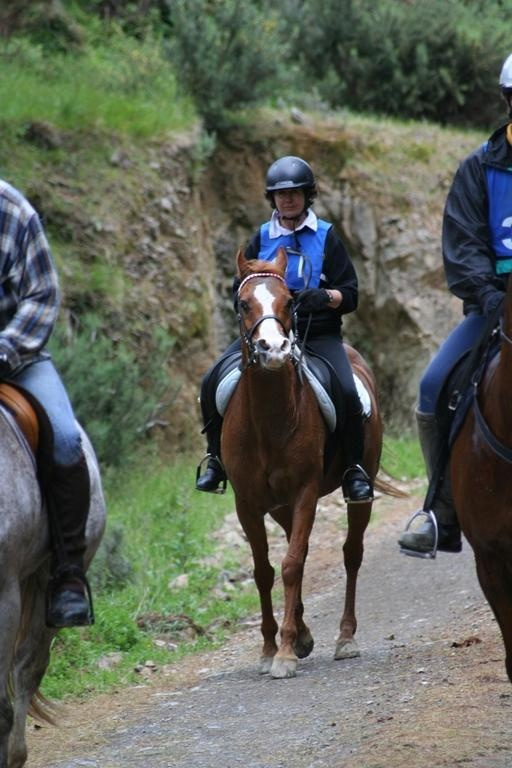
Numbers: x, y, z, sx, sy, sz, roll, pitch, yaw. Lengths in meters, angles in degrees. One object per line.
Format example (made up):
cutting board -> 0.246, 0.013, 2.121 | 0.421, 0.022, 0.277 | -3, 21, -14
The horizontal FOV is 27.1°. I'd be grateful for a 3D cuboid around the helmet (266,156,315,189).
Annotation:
helmet -> 0.242, -1.526, 7.756 | 0.372, 0.252, 0.285 | -11, -2, -7
